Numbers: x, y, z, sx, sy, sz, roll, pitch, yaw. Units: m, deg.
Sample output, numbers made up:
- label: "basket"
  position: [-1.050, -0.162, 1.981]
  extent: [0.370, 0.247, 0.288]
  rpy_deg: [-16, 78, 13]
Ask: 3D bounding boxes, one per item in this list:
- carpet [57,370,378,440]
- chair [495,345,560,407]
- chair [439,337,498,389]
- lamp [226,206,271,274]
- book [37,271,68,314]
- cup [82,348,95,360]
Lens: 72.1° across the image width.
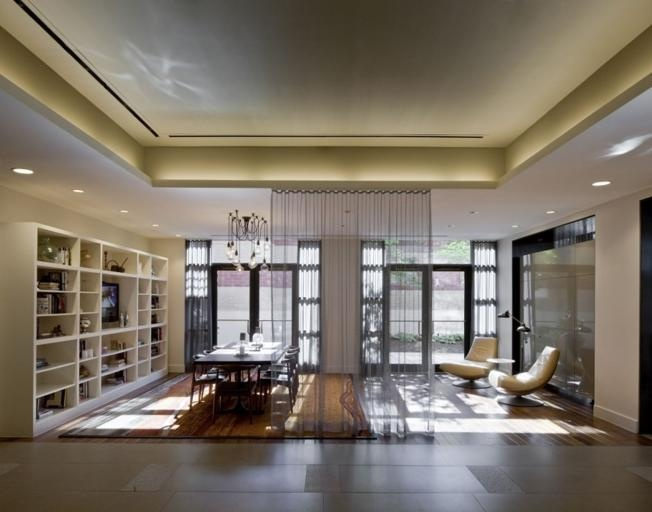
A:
- label: "carpet"
  position: [-1.324, 1.844, 6.335]
  extent: [3.919, 0.812, 2.257]
  rpy_deg: [1, -2, 3]
- label: "chair"
  position: [3.088, 1.813, 6.886]
  extent: [0.866, 0.845, 0.752]
  rpy_deg: [0, -4, 9]
- label: "chair"
  position: [2.623, 1.903, 8.117]
  extent: [0.965, 0.849, 0.922]
  rpy_deg: [7, -9, -33]
- label: "lamp"
  position: [-1.335, -0.248, 7.563]
  extent: [0.705, 0.874, 0.701]
  rpy_deg: [4, -14, -17]
- label: "book"
  position: [-3.532, 0.460, 5.732]
  extent: [0.173, 0.494, 0.513]
  rpy_deg: [-1, -5, -8]
- label: "cup"
  position: [-3.433, 1.406, 6.444]
  extent: [0.094, 0.135, 0.176]
  rpy_deg: [0, -2, 22]
